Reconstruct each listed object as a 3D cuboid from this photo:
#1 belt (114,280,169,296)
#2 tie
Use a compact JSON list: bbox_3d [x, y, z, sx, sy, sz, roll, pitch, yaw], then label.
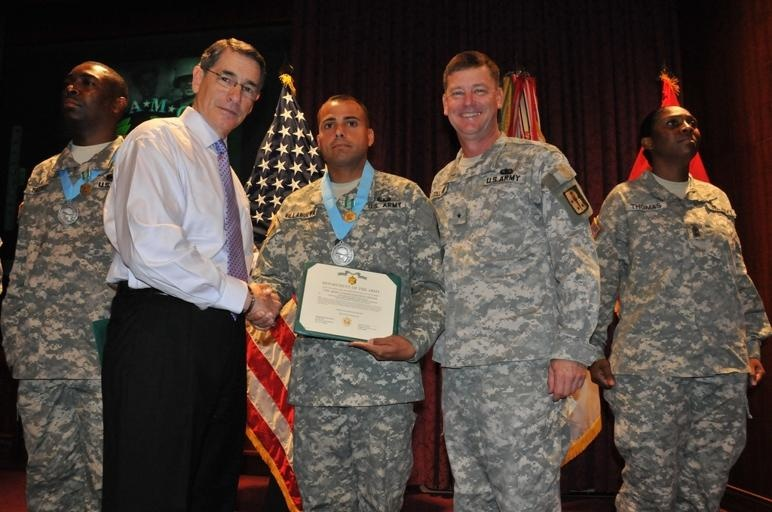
[{"bbox_3d":[-1.238,0.169,3.979,0.328,0.084,0.042,1,2,21],"label":"belt"},{"bbox_3d":[-0.829,-0.250,4.183,0.181,0.765,0.298,1,2,-12],"label":"tie"}]
